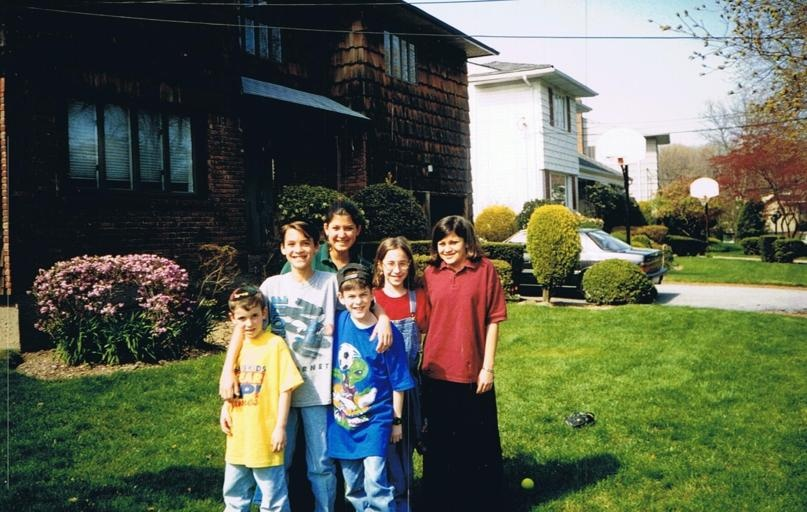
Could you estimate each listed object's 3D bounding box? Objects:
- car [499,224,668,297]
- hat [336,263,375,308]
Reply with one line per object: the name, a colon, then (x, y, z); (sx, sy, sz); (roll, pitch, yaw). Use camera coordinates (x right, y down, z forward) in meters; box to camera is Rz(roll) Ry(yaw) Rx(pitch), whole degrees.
car: (3.866, -0.033, 15.539); (3.369, 1.051, 1.566); (3, 8, 28)
hat: (-0.502, 0.274, 7.354); (0.285, 0.242, 0.311); (-2, 25, -4)
